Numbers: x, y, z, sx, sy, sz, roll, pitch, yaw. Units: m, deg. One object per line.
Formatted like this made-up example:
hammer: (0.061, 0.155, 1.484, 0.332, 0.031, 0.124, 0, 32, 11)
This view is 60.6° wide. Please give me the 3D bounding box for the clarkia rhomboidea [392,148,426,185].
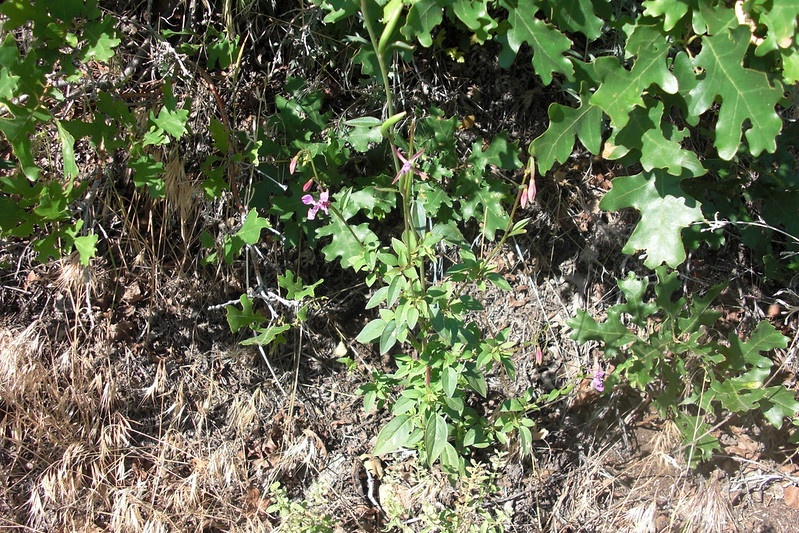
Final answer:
clarkia rhomboidea: (0.054, -0.455, 3.145, 0.133, 0.057, 0.167, 4, -3, -39)
